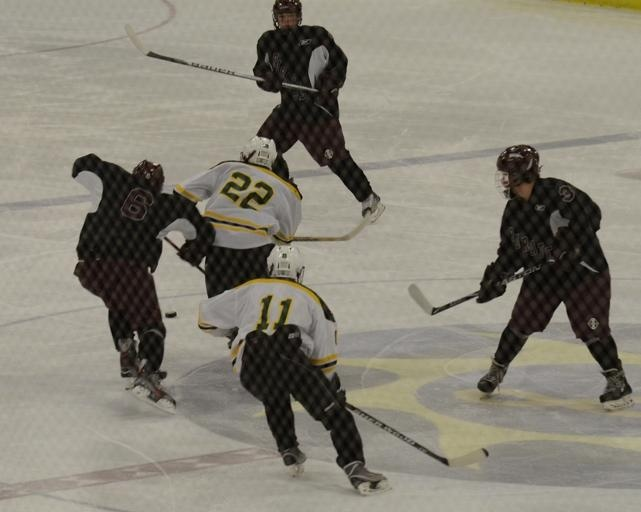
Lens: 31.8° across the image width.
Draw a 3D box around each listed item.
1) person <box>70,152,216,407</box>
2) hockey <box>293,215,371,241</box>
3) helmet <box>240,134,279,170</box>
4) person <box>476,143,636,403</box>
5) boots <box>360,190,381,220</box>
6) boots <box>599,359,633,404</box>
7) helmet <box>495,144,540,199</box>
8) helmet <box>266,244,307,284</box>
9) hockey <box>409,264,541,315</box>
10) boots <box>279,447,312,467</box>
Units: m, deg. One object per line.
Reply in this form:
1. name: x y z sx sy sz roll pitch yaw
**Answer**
1. person: -1.004 0.112 6.507 0.718 1.281 0.988 -12 31 -26
2. hockey: 0.088 -0.198 8.267 0.591 0.148 0.023 -13 48 35
3. helmet: -0.386 -0.633 6.795 0.195 0.199 0.207 9 47 -19
4. person: 1.377 0.129 6.404 1.001 1.398 0.644 11 30 15
5. boots: 0.361 -0.349 8.013 0.096 0.243 0.096 -5 63 -1
6. boots: 1.672 0.739 6.353 0.172 0.241 0.143 4 28 2
7. helmet: 1.097 -0.498 6.505 0.364 0.342 0.296 -2 16 5
8. helmet: -0.182 0.040 6.100 0.190 0.177 0.217 5 -6 8
9. hockey: 0.985 0.229 7.135 0.666 0.106 0.123 -26 22 43
10. boots: -0.131 1.029 5.821 0.135 0.106 0.085 -9 33 -9
